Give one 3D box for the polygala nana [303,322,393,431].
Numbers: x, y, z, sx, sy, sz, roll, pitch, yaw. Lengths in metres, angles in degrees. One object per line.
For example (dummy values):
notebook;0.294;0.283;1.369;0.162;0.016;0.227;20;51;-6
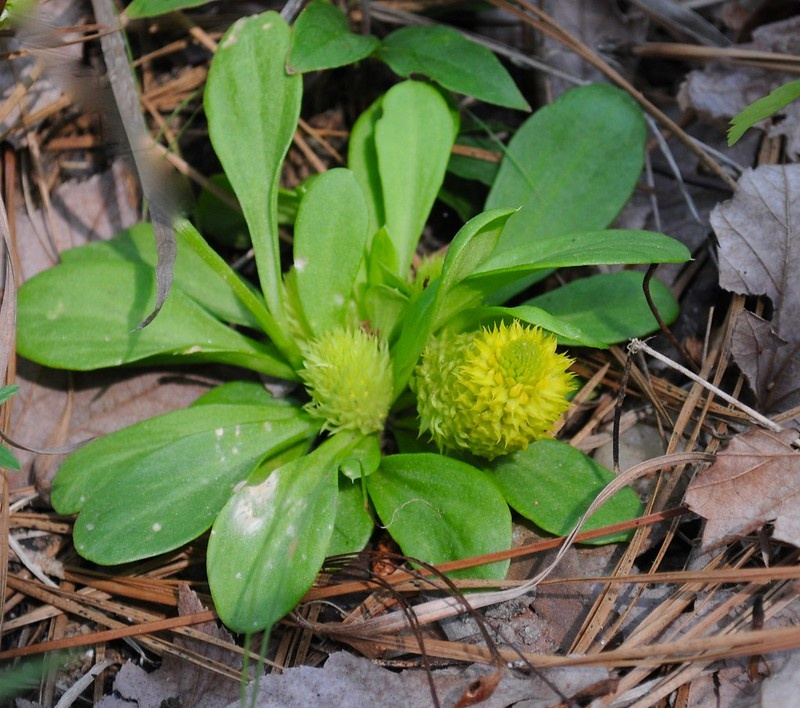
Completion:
polygala nana;-0.107;0.047;1.387;0.157;0.181;0.160;11;8;-28
